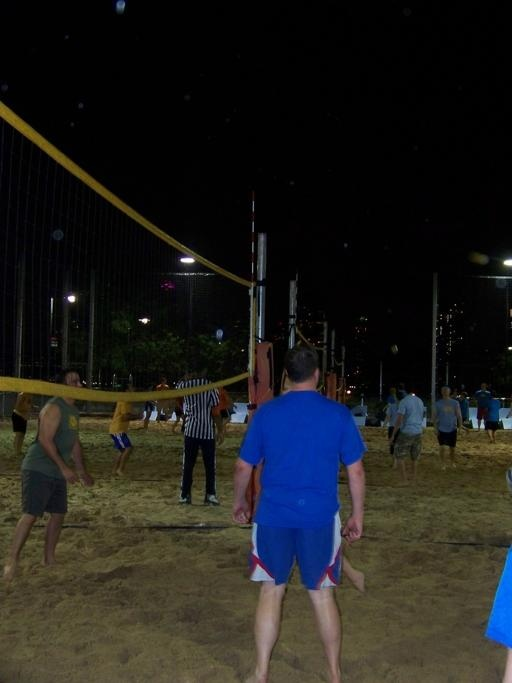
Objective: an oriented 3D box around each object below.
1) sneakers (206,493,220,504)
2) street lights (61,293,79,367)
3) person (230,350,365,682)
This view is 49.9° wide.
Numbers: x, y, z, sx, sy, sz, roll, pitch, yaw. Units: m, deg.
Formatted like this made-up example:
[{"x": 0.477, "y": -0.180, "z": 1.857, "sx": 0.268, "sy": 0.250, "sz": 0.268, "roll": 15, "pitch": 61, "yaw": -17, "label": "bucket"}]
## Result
[{"x": -0.476, "y": 1.707, "z": 5.978, "sx": 0.197, "sy": 0.137, "sz": 0.067, "roll": -1, "pitch": -1, "yaw": 15, "label": "sneakers"}, {"x": -7.516, "y": -0.564, "z": 21.799, "sx": 0.660, "sy": 2.734, "sz": 0.454, "roll": 0, "pitch": -3, "yaw": 6, "label": "street lights"}, {"x": 0.145, "y": 0.636, "z": 2.025, "sx": 0.488, "sy": 1.253, "sz": 0.292, "roll": 2, "pitch": -4, "yaw": 9, "label": "person"}]
